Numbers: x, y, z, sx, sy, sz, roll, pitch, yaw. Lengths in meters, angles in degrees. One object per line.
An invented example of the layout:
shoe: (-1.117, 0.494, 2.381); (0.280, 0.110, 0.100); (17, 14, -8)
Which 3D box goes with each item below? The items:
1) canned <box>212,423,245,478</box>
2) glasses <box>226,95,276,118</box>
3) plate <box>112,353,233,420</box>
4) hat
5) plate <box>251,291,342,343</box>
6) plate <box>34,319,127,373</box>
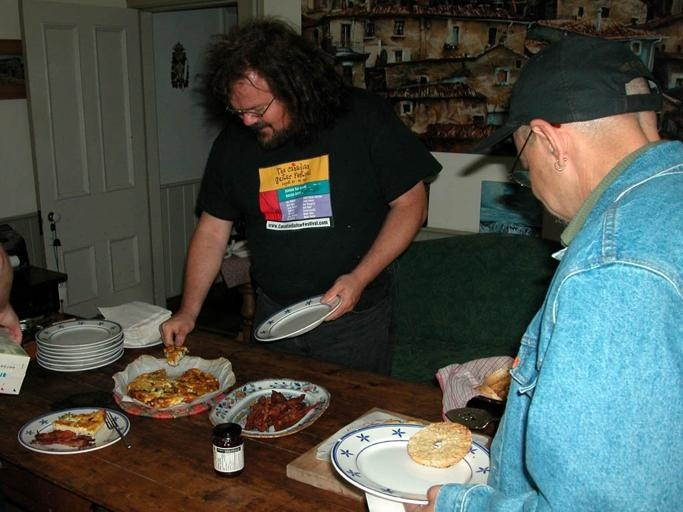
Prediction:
canned: (-0.316, 0.519, 1.483); (0.093, 0.130, 0.115); (-5, 19, -11)
glasses: (-0.366, -0.590, 2.105); (0.202, 0.080, 0.063); (8, 20, 26)
plate: (-0.547, 0.426, 1.808); (0.277, 0.042, 0.223); (-7, 17, -29)
hat: (0.459, -0.321, 1.092); (0.308, 0.134, 0.212); (1, 16, 32)
plate: (-0.175, 0.247, 2.015); (0.241, 0.029, 0.239); (-27, 16, -38)
plate: (-1.032, 0.321, 2.147); (0.281, 0.079, 0.240); (3, 12, 2)
